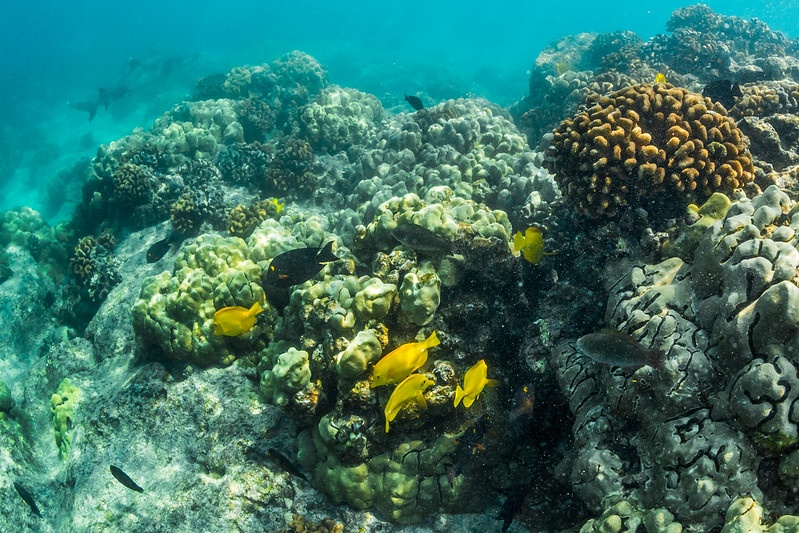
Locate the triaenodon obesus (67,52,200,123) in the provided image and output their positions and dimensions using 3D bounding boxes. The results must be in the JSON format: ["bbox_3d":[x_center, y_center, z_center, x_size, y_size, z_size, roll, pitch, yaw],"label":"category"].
[{"bbox_3d":[-15.864,-10.975,51.938,6.031,4.613,18.709,6,17,-15],"label":"triaenodon obesus"}]

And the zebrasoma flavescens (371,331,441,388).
[{"bbox_3d":[0.190,2.775,24.287,2.379,1.073,0.659,-30,33,-17],"label":"zebrasoma flavescens"}]

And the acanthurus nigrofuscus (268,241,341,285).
[{"bbox_3d":[-2.923,-0.052,25.664,1.737,0.917,0.409,-22,25,0],"label":"acanthurus nigrofuscus"}]

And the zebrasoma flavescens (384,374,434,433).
[{"bbox_3d":[0.248,3.955,24.573,2.117,1.065,0.655,-31,25,-15],"label":"zebrasoma flavescens"}]
